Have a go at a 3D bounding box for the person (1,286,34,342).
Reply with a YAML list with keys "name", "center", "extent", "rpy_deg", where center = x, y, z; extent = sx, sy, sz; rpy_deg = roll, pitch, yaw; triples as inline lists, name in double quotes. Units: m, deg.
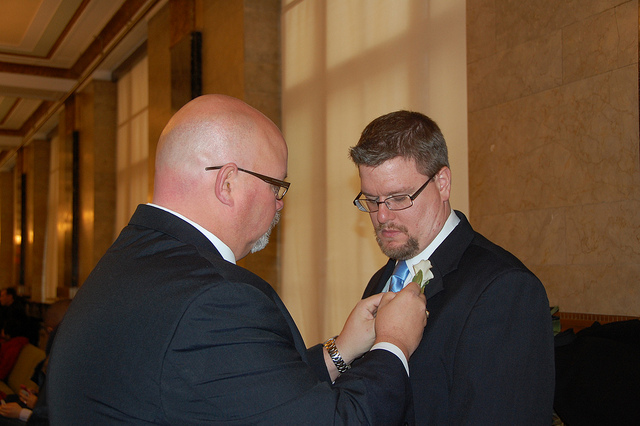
- name: "person"
  center: [-6.230, 2.094, 12.027]
  extent: [0.695, 0.967, 0.492]
  rpy_deg: [-29, -17, 27]
